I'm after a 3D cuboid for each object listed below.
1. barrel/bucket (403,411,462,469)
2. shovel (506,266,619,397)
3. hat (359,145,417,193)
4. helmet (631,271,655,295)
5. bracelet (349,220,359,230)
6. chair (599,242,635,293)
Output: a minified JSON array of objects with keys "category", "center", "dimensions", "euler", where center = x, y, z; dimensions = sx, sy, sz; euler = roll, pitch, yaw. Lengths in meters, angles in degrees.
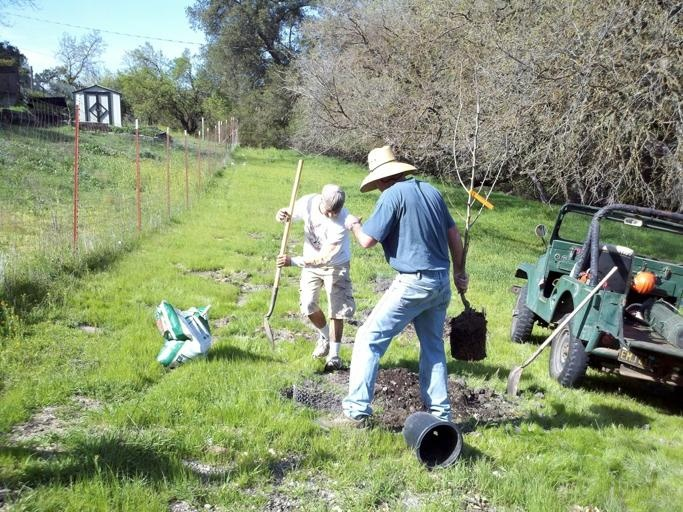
[{"category":"barrel/bucket","center":[1.139,2.326,8.875],"dimensions":[0.579,0.686,0.819],"euler":[2,12,-23]},{"category":"shovel","center":[3.078,1.081,10.202],"dimensions":[0.940,1.836,1.479],"euler":[13,14,38]},{"category":"hat","center":[0.504,-1.170,9.418],"dimensions":[0.679,0.468,0.795],"euler":[-23,-3,-25]},{"category":"helmet","center":[4.589,0.434,10.796],"dimensions":[0.263,0.342,0.304],"euler":[19,-10,-8]},{"category":"bracelet","center":[0.154,-0.395,9.094],"dimensions":[0.093,0.088,0.097],"euler":[-1,0,-31]},{"category":"chair","center":[4.199,0.200,10.913],"dimensions":[0.455,0.540,0.858],"euler":[8,21,26]}]
